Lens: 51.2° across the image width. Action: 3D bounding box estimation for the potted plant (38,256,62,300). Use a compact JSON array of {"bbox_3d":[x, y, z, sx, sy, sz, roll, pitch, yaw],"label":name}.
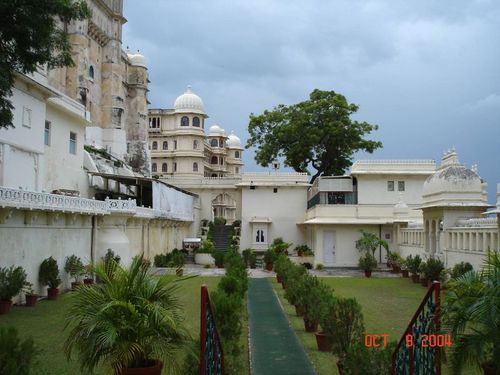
[{"bbox_3d":[-8.343,3.746,21.695,0.888,1.741,0.630,4,-7,-25],"label":"potted plant"}]
